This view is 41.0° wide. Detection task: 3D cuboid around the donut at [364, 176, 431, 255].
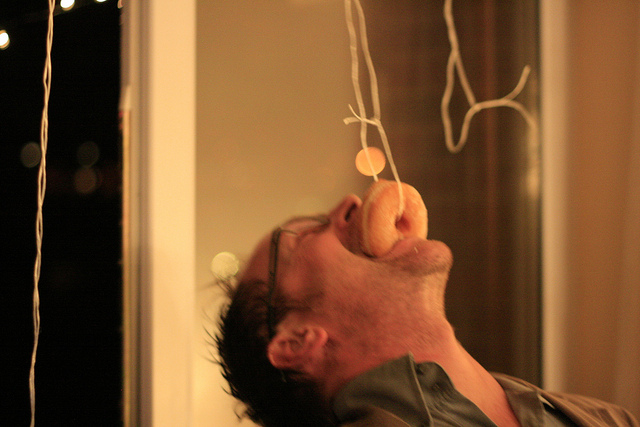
[{"bbox_3d":[0.273,0.018,3.087,0.211,0.294,0.109,-6,11,-28],"label":"donut"}]
